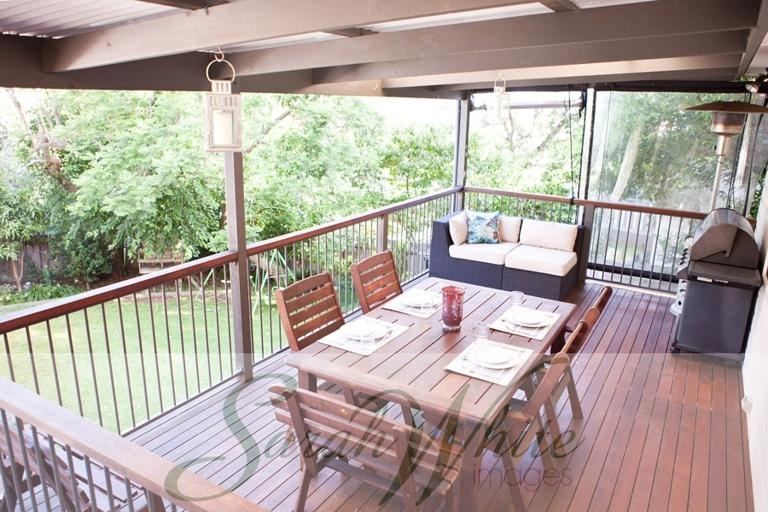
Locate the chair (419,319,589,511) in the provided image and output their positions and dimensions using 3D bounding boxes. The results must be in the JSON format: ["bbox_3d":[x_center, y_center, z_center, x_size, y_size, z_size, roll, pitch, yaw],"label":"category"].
[{"bbox_3d":[0.880,1.219,3.740,0.891,1.279,0.993,9,24,27],"label":"chair"}]

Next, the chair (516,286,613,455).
[{"bbox_3d":[1.655,0.783,4.162,0.753,0.862,0.763,-14,-6,-10],"label":"chair"}]

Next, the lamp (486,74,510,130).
[{"bbox_3d":[1.187,-1.597,5.021,0.215,0.552,0.210,-3,8,-13],"label":"lamp"}]

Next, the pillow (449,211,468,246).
[{"bbox_3d":[1.168,-0.379,7.604,0.242,0.450,0.688,1,0,21],"label":"pillow"}]

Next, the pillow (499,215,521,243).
[{"bbox_3d":[1.949,-0.405,7.562,0.413,0.422,0.150,-2,-3,37],"label":"pillow"}]

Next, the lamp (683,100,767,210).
[{"bbox_3d":[4.431,-1.289,6.364,0.642,1.398,2.715,11,18,35],"label":"lamp"}]

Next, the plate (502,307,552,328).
[{"bbox_3d":[1.264,0.536,4.289,0.241,0.035,0.248,-7,21,-11],"label":"plate"}]

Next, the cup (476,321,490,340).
[{"bbox_3d":[0.766,0.580,3.864,0.134,0.116,0.102,-3,21,-3],"label":"cup"}]

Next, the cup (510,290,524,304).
[{"bbox_3d":[1.188,0.370,4.401,0.117,0.120,0.118,-2,10,0],"label":"cup"}]

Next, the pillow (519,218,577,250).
[{"bbox_3d":[2.470,-0.323,7.398,0.811,0.403,0.251,9,5,15],"label":"pillow"}]

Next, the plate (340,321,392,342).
[{"bbox_3d":[-0.143,0.612,4.056,0.197,0.025,0.221,6,21,20],"label":"plate"}]
